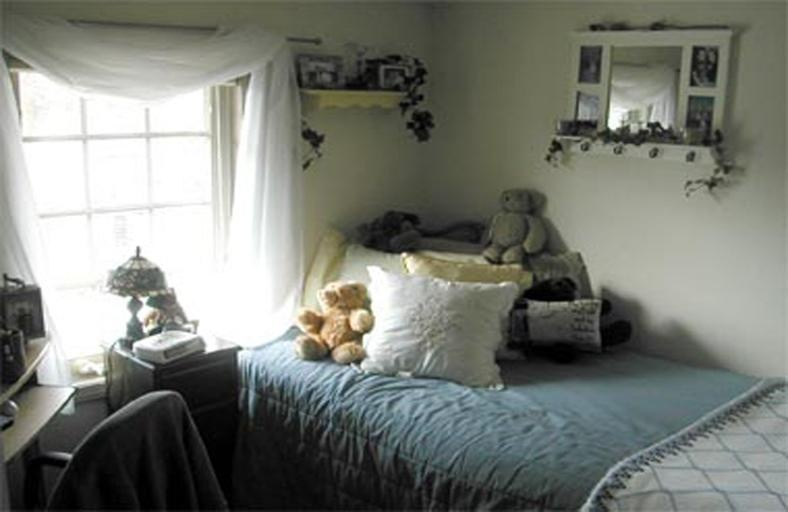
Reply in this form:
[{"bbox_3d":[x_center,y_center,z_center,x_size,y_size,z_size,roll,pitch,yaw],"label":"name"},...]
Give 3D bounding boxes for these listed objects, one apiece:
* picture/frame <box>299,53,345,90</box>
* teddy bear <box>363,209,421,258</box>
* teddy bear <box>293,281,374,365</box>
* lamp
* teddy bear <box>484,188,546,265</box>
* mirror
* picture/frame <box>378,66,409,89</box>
[{"bbox_3d":[-0.358,-1.036,3.413,0.302,0.176,0.176,14,23,31],"label":"picture/frame"},{"bbox_3d":[-0.028,-0.135,3.658,0.241,0.133,0.334,-18,19,-39],"label":"teddy bear"},{"bbox_3d":[-0.283,0.383,3.206,0.469,0.459,0.402,-6,-19,26],"label":"teddy bear"},{"bbox_3d":[-1.278,0.205,2.950,0.317,0.504,0.213,7,15,34],"label":"lamp"},{"bbox_3d":[0.722,-0.190,3.549,0.344,0.433,0.444,-14,15,-33],"label":"teddy bear"},{"bbox_3d":[1.228,-0.850,2.973,0.798,0.489,0.070,2,3,3],"label":"mirror"},{"bbox_3d":[-0.021,-1.045,3.543,0.159,0.131,0.035,-2,10,-18],"label":"picture/frame"}]
